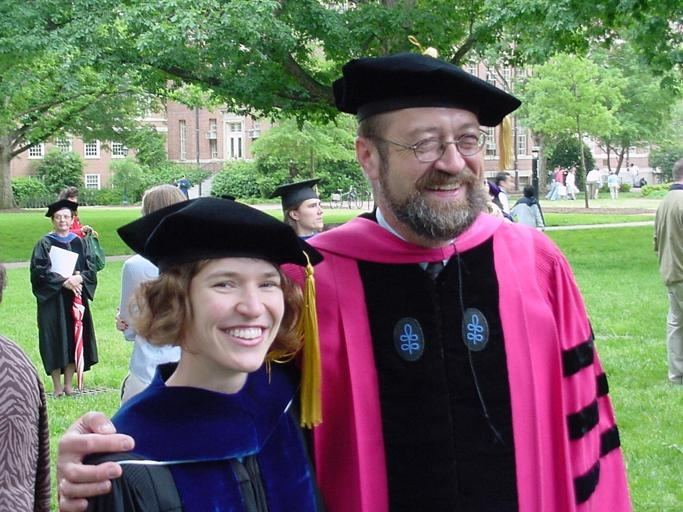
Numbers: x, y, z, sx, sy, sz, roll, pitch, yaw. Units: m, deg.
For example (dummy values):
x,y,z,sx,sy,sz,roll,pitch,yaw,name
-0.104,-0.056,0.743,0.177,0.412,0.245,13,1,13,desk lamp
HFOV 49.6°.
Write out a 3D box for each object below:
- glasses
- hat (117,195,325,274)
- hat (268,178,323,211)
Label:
x,y,z,sx,sy,sz,roll,pitch,yaw,name
0.416,-0.513,3.506,0.531,0.133,0.214,1,10,9,glasses
-0.514,-0.088,3.185,0.499,0.172,0.446,5,-5,-21,hat
-0.417,-0.614,7.355,0.346,0.177,0.422,-9,-4,-10,hat
